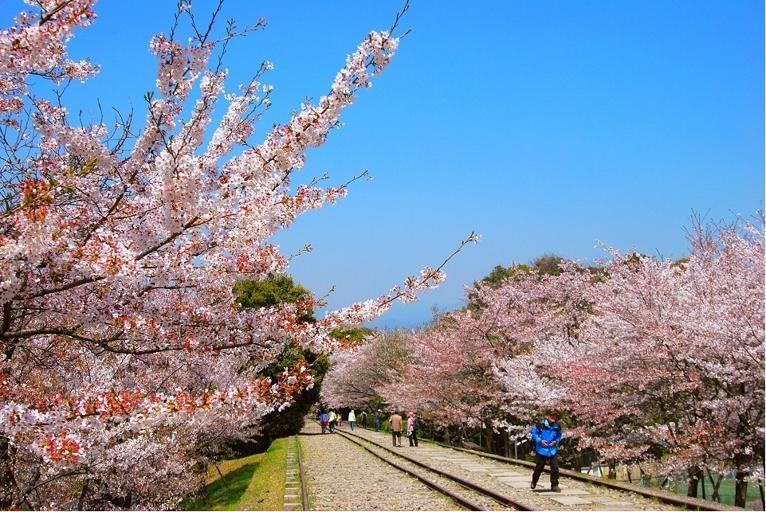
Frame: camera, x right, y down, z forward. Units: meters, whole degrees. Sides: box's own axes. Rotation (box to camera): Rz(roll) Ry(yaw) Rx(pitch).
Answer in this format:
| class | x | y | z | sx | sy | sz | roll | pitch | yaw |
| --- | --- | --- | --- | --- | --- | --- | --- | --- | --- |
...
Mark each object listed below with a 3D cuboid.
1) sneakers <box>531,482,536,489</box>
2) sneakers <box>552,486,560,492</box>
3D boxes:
| class | x | y | z | sx | sy | sz | roll | pitch | yaw |
| --- | --- | --- | --- | --- | --- | --- | --- | --- | --- |
| sneakers | 4.016 | 6.099 | 16.807 | 0.125 | 0.161 | 0.162 | 0 | 0 | 0 |
| sneakers | 4.523 | 6.132 | 16.647 | 0.234 | 0.159 | 0.114 | -2 | -1 | 4 |
